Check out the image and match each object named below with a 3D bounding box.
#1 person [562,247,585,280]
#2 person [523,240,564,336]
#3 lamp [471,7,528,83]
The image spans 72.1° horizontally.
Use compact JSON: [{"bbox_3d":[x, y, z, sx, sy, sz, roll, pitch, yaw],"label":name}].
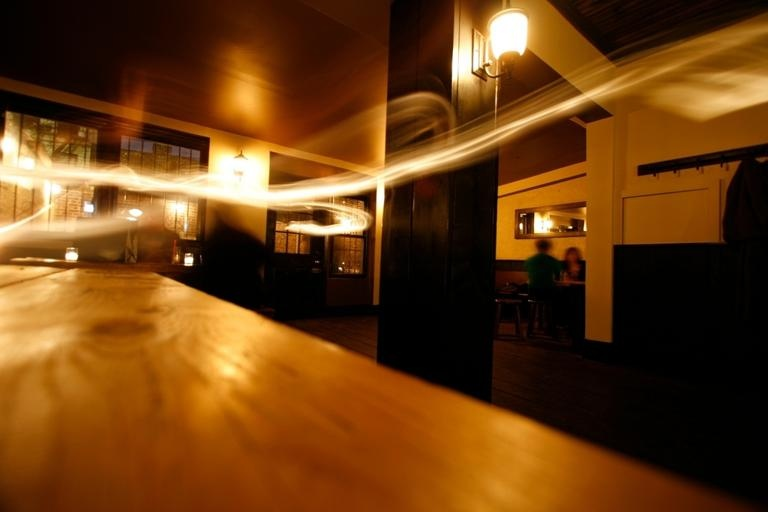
[{"bbox_3d":[3.808,0.161,10.489,0.371,0.557,0.978,8,11,23],"label":"person"},{"bbox_3d":[2.813,0.576,9.343,0.628,1.614,0.727,6,10,19],"label":"person"},{"bbox_3d":[1.183,-2.176,5.474,0.533,0.692,0.234,5,9,8],"label":"lamp"}]
